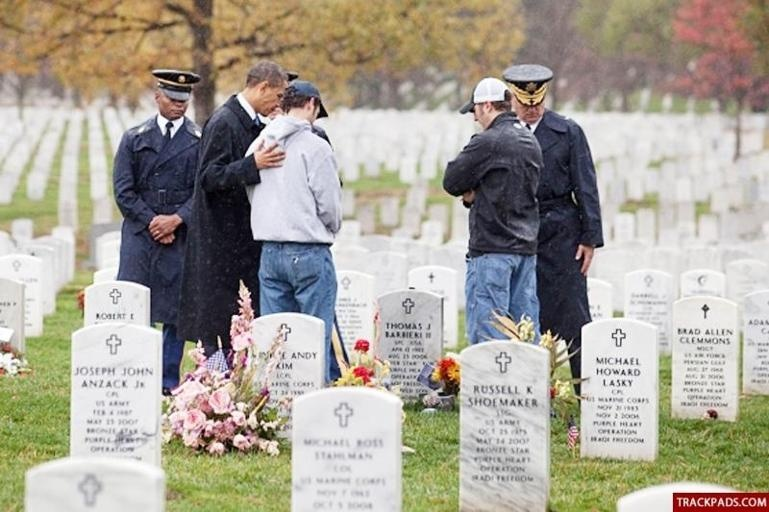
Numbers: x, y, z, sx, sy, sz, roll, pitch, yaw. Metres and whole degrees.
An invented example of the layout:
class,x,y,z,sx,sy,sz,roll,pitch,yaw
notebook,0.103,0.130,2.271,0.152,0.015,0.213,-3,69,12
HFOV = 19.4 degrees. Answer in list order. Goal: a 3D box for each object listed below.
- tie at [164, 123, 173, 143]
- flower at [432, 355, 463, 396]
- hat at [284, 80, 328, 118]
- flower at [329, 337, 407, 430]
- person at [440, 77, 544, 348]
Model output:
class,x,y,z,sx,sy,sz,roll,pitch,yaw
tie,-3.208,-1.882,33.812,0.075,0.333,0.087,10,-8,-1
flower,0.960,1.735,33.675,0.466,0.594,0.485,0,-4,14
hat,-1.085,-2.349,33.009,0.575,0.606,0.848,1,-3,-1
flower,-0.272,1.826,33.010,1.166,1.038,1.202,1,-1,-3
person,1.652,-0.682,32.892,1.305,3.834,0.626,1,-4,4
